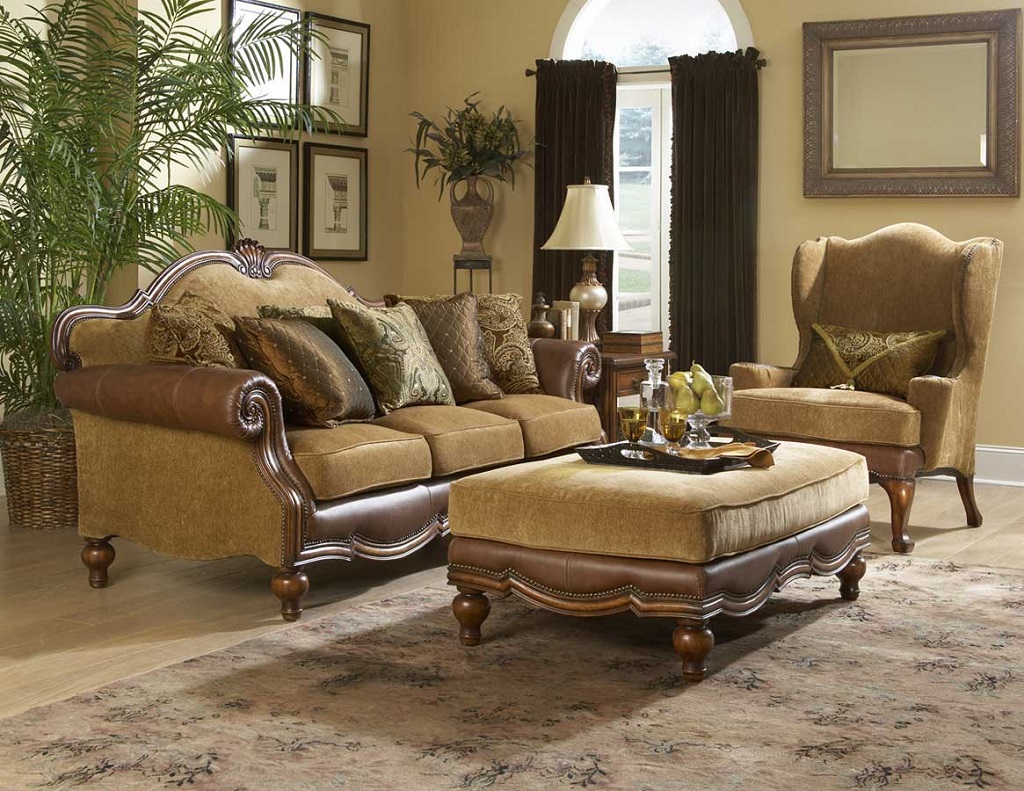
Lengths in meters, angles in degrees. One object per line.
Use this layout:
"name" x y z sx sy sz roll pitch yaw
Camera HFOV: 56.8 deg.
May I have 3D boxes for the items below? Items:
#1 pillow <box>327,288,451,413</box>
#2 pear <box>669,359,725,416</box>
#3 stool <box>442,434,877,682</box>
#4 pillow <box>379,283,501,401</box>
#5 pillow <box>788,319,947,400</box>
"pillow" -0.637 -0.138 4.018 0.170 0.472 0.534 -31 -11 24
"pear" 0.638 -0.006 3.252 0.237 0.197 0.149 -1 2 12
"stool" 0.355 0.411 2.890 0.755 0.381 1.010 0 2 35
"pillow" -0.354 -0.337 4.450 0.485 0.125 0.438 -11 44 -29
"pillow" 1.776 -0.185 4.751 0.310 0.272 0.720 -31 25 -32
